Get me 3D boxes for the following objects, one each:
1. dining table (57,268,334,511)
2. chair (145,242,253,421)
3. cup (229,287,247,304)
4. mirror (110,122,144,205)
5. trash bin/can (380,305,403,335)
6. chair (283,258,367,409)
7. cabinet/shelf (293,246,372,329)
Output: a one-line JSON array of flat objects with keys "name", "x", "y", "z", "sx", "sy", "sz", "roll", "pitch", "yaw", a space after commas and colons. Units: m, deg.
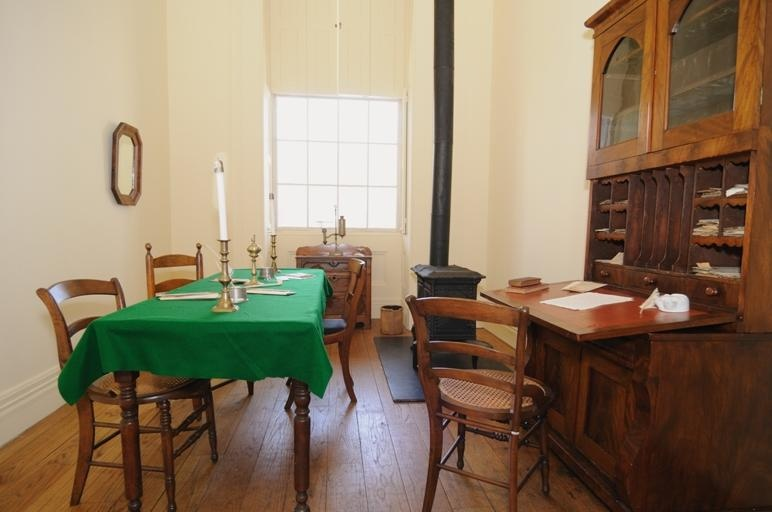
[{"name": "dining table", "x": -1.122, "y": 0.631, "z": 3.263, "sx": 1.039, "sy": 0.429, "sz": 1.793, "roll": 1, "pitch": 3, "yaw": 2}, {"name": "chair", "x": -1.608, "y": 0.603, "z": 5.041, "sx": 1.011, "sy": 1.648, "sz": 1.012, "roll": -7, "pitch": 5, "yaw": -14}, {"name": "cup", "x": -0.967, "y": 0.265, "z": 3.642, "sx": 0.103, "sy": 0.071, "sz": 0.101, "roll": 1, "pitch": -4, "yaw": 0}, {"name": "mirror", "x": -2.395, "y": -0.831, "z": 5.117, "sx": 0.153, "sy": 0.747, "sz": 0.482, "roll": -4, "pitch": 6, "yaw": -3}, {"name": "trash bin/can", "x": 0.057, "y": 0.718, "z": 6.098, "sx": 0.280, "sy": 0.273, "sz": 0.281, "roll": 0, "pitch": 1, "yaw": 0}, {"name": "chair", "x": -0.533, "y": 0.656, "z": 4.670, "sx": 0.692, "sy": 1.129, "sz": 0.680, "roll": 1, "pitch": -1, "yaw": 2}, {"name": "cabinet/shelf", "x": -0.578, "y": 0.354, "z": 6.361, "sx": 0.831, "sy": 0.900, "sz": 0.534, "roll": -1, "pitch": -1, "yaw": -6}]
